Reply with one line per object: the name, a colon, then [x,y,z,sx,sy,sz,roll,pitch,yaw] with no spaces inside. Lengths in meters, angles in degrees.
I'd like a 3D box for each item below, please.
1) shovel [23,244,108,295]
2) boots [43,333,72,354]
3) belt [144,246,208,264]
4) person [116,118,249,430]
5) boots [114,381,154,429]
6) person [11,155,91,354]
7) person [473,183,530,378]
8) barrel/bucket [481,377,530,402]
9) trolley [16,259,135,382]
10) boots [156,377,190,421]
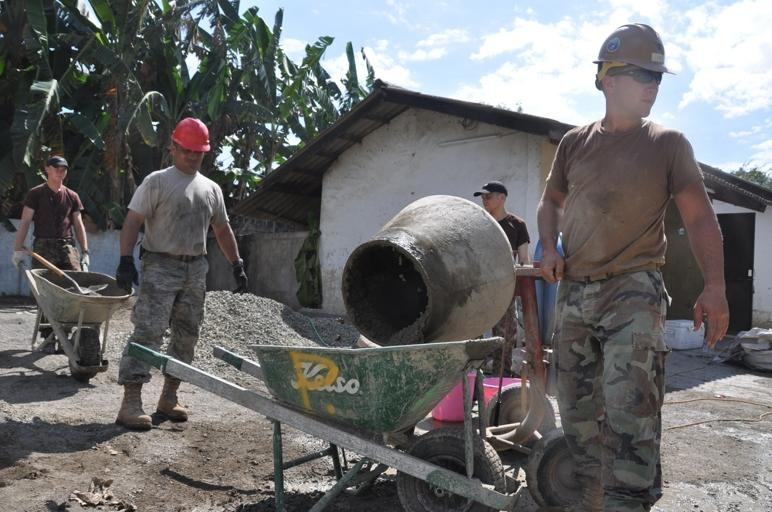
shovel: [-3.950,0.170,8.744,1.491,0.175,0.580,24,33,35]
boots: [-3.913,1.041,8.792,0.202,0.300,0.100,6,4,-8]
belt: [-2.207,0.001,7.593,0.275,0.111,0.250,15,1,10]
person: [-2.159,0.171,7.728,1.224,3.143,0.762,4,4,-27]
boots: [-2.550,1.489,7.461,0.232,0.511,0.583,9,-9,-41]
person: [-4.231,0.057,9.539,1.126,2.483,0.912,0,0,39]
person: [1.296,0.308,8.872,0.878,2.357,0.795,2,-1,15]
barrel/bucket: [1.234,1.388,7.880,0.356,0.278,0.361,-1,0,0]
trolley: [-3.778,0.725,8.823,0.830,1.094,1.656,4,15,-46]
boots: [-2.233,1.492,7.763,0.414,0.443,0.210,9,1,33]
